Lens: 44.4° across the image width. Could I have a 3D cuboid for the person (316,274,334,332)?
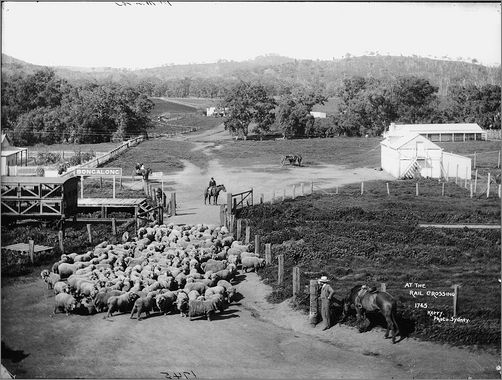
[{"bbox_3d":[3.718,5.524,29.962,0.676,2.546,0.843,0,9,5],"label":"person"}]
